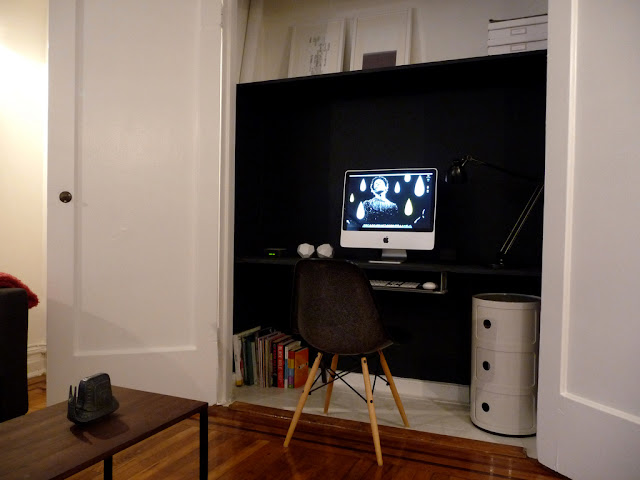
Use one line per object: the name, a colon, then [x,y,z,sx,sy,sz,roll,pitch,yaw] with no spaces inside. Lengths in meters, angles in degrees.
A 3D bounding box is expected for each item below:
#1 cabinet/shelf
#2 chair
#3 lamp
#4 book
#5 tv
cabinet/shelf: [1.046,0.717,2.955,0.375,0.753,0.197,3,10,17]
chair: [0.191,0.578,3.025,0.652,1.053,0.896,2,10,10]
lamp: [1.072,-0.184,3.204,0.525,0.639,0.387,6,11,29]
book: [-0.335,0.794,3.591,0.400,0.144,0.397,1,2,19]
tv: [0.466,-0.160,3.359,0.591,0.583,0.184,0,4,21]
